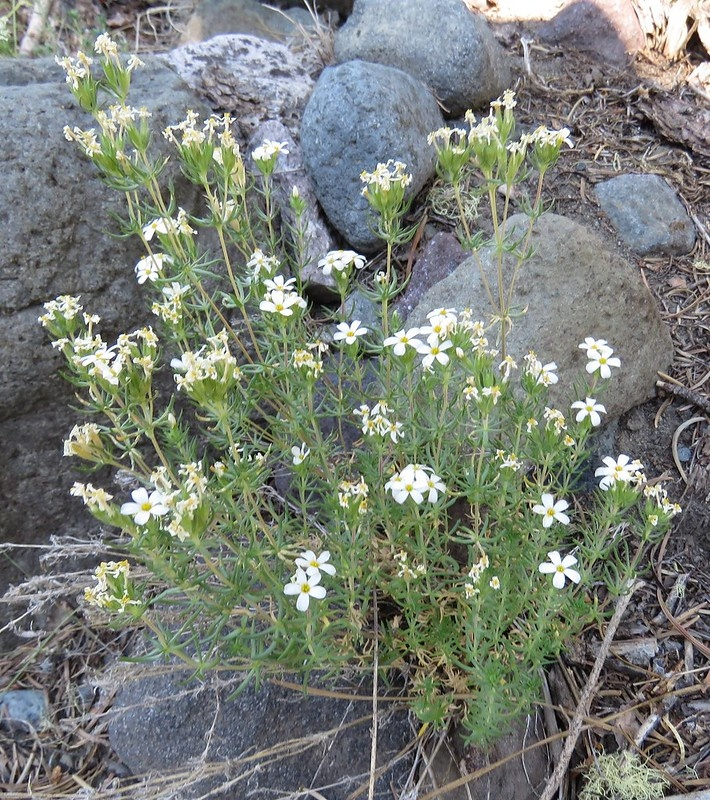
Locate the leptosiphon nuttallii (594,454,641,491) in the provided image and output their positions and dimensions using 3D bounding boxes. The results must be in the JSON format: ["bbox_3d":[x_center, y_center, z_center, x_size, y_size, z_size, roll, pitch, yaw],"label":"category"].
[{"bbox_3d":[1.043,0.295,3.304,0.142,0.052,0.178,-23,54,5],"label":"leptosiphon nuttallii"}]
